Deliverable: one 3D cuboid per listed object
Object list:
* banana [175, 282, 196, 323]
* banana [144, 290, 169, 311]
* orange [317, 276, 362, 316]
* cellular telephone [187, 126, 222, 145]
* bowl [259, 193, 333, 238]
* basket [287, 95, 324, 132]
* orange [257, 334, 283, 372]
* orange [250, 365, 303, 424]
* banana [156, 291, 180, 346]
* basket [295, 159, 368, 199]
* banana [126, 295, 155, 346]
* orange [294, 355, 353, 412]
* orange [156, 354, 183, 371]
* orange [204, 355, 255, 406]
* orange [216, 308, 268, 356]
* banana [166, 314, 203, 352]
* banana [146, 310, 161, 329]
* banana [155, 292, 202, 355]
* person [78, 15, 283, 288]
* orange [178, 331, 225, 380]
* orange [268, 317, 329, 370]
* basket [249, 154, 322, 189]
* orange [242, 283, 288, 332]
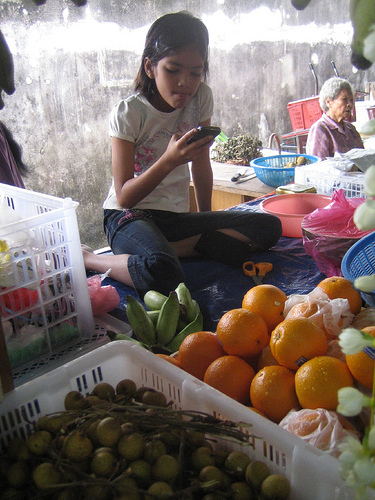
[{"bbox_3d":[-0.006,0.148,1.153,0.035,0.125,0.041,-28,-37,14],"label":"banana"},{"bbox_3d":[-0.106,0.162,1.257,0.045,0.045,0.081,-20,9,-26],"label":"banana"},{"bbox_3d":[0.321,0.086,0.815,0.086,0.074,0.081,-12,16,-6],"label":"orange"},{"bbox_3d":[0.072,-0.445,1.503,0.068,0.059,0.168,5,14,43],"label":"cellular telephone"},{"bbox_3d":[0.537,-0.201,1.863,0.260,0.102,0.251,-10,24,4],"label":"bowl"},{"bbox_3d":[1.090,-1.276,3.632,0.218,0.268,0.413,-13,14,-40],"label":"basket"},{"bbox_3d":[0.143,0.186,0.714,0.042,0.048,0.041,-20,37,-29],"label":"orange"},{"bbox_3d":[0.140,0.231,0.635,0.082,0.089,0.079,-5,9,-39],"label":"orange"},{"bbox_3d":[-0.042,0.182,1.058,0.046,0.143,0.052,8,-7,17],"label":"banana"},{"bbox_3d":[0.659,-0.345,1.847,0.215,0.180,0.453,-4,11,4],"label":"basket"},{"bbox_3d":[-0.130,0.181,1.048,0.052,0.154,0.050,-29,-5,-20],"label":"banana"},{"bbox_3d":[0.205,0.201,0.580,0.086,0.066,0.061,-3,11,10],"label":"orange"},{"bbox_3d":[-0.037,0.214,0.757,0.035,0.032,0.032,5,-9,4],"label":"orange"},{"bbox_3d":[0.066,0.229,0.681,0.077,0.082,0.073,-3,-3,-12],"label":"orange"},{"bbox_3d":[0.108,0.160,0.725,0.096,0.097,0.102,17,-22,-39],"label":"orange"},{"bbox_3d":[-0.011,0.200,0.932,0.033,0.105,0.070,48,26,21],"label":"banana"},{"bbox_3d":[-0.096,0.193,1.083,0.046,0.030,0.054,-3,-15,1],"label":"banana"},{"bbox_3d":[-0.025,0.191,1.000,0.050,0.159,0.109,13,-32,11],"label":"banana"},{"bbox_3d":[-0.076,-0.470,1.777,0.954,1.047,0.832,-16,25,-33],"label":"person"},{"bbox_3d":[0.020,0.198,0.770,0.086,0.093,0.082,-2,0,-21],"label":"orange"},{"bbox_3d":[0.184,0.152,0.654,0.074,0.083,0.075,-24,-21,25],"label":"orange"},{"bbox_3d":[0.591,-0.491,2.295,0.345,0.115,0.332,-6,26,3],"label":"basket"},{"bbox_3d":[0.156,0.118,0.784,0.065,0.062,0.076,-34,42,-13],"label":"orange"}]
